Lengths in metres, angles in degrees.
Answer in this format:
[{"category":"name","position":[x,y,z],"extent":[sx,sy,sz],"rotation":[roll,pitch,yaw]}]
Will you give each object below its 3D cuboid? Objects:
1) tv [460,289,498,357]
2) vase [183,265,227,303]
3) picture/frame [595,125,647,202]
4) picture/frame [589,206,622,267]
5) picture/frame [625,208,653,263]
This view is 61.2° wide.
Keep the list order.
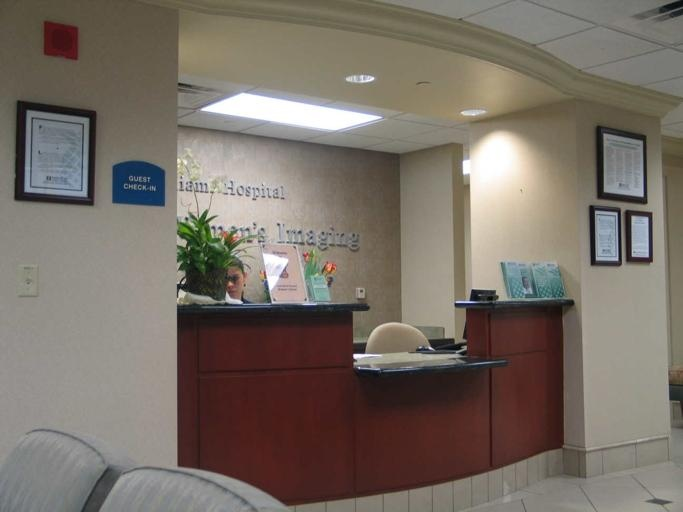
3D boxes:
[{"category":"tv","position":[1.165,0.540,4.858],"extent":[0.261,0.501,0.719],"rotation":[0,1,13]},{"category":"vase","position":[-0.841,0.172,3.554],"extent":[0.208,0.170,0.200],"rotation":[-1,-3,22]},{"category":"picture/frame","position":[2.596,-0.817,5.325],"extent":[0.591,0.622,0.025],"rotation":[2,-2,-25]},{"category":"picture/frame","position":[2.343,-0.167,5.154],"extent":[0.497,0.561,0.037],"rotation":[4,-6,-41]},{"category":"picture/frame","position":[2.785,-0.180,5.424],"extent":[0.457,0.564,0.038],"rotation":[5,-6,-39]}]
